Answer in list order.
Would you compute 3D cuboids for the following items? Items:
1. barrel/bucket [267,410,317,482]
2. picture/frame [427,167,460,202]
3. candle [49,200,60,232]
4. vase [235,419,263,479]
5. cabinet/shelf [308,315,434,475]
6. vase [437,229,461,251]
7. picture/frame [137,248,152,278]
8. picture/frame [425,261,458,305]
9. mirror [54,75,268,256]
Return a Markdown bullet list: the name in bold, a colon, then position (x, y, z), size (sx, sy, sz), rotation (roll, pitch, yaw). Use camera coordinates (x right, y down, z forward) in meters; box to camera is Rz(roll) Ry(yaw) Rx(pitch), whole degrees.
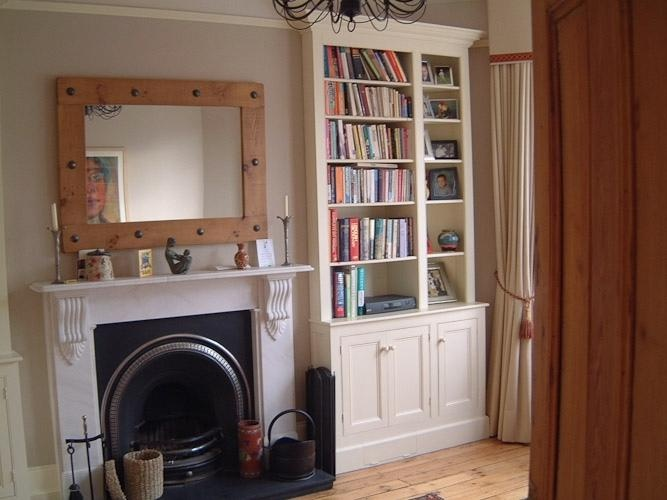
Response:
- **barrel/bucket**: position (-0.281, 1.256, 3.741), size (0.380, 0.439, 0.417), rotation (-1, -6, 0)
- **picture/frame**: position (0.859, -0.504, 4.498), size (0.267, 0.283, 0.038), rotation (-1, -5, -10)
- **candle**: position (-1.627, -0.197, 3.332), size (0.045, 0.160, 0.244), rotation (-1, 13, -26)
- **vase**: position (-0.547, 1.304, 3.728), size (0.171, 0.332, 0.117), rotation (4, 11, -7)
- **cabinet/shelf**: position (0.216, 1.017, 3.997), size (1.027, 1.141, 0.431), rotation (-1, -1, -34)
- **vase**: position (0.899, -0.076, 4.493), size (0.154, 0.136, 0.160), rotation (1, -1, 0)
- **picture/frame**: position (-1.174, 0.081, 3.568), size (0.088, 0.160, 0.134), rotation (1, 12, -20)
- **picture/frame**: position (0.816, 0.266, 4.583), size (0.283, 0.288, 0.012), rotation (4, -11, -42)
- **mirror**: position (-1.140, -0.535, 3.593), size (1.137, 0.954, 0.109), rotation (-2, 6, -22)
